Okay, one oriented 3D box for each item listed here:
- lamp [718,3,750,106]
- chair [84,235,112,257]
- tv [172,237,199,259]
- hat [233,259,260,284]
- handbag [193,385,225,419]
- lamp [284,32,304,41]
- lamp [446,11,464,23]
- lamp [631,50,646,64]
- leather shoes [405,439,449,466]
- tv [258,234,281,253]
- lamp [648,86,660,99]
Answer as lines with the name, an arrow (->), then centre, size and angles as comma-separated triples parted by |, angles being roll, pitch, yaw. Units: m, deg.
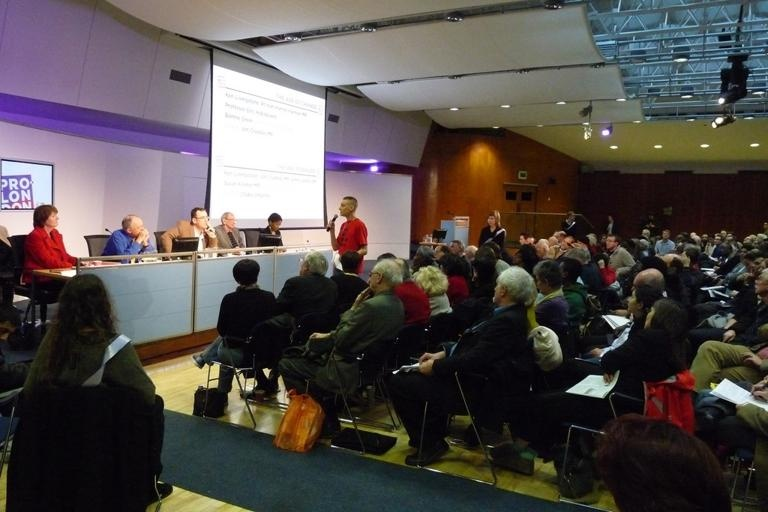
lamp -> 5.958, -3.361, 9.023 | 0.421, 1.457, 1.969 | 8, 15, 30
chair -> -4.043, -0.152, 7.577 | 0.329, 0.459, 0.302 | 9, 7, 40
tv -> -2.561, -0.118, 6.871 | 0.442, 0.244, 0.415 | -1, -15, -25
hat -> -1.396, 0.159, 5.471 | 0.214, 0.274, 0.275 | 0, 7, -9
handbag -> -1.755, 1.487, 5.514 | 0.294, 0.303, 0.294 | 5, 9, 26
lamp -> -1.406, -3.374, 8.098 | 0.363, 0.128, 0.200 | 9, 15, 27
lamp -> 0.960, -3.314, 7.251 | 0.242, 0.112, 0.214 | 0, 14, -5
lamp -> 4.643, -3.737, 9.794 | 0.241, 0.239, 0.090 | 4, 9, 26
leather shoes -> 0.388, 1.806, 4.825 | 0.400, 0.177, 0.160 | 4, -5, -40
tv -> -1.742, -0.194, 8.185 | 0.296, 0.294, 0.070 | -1, 24, -23
lamp -> 6.293, -3.897, 12.460 | 0.279, 0.197, 0.292 | -1, 15, 13
